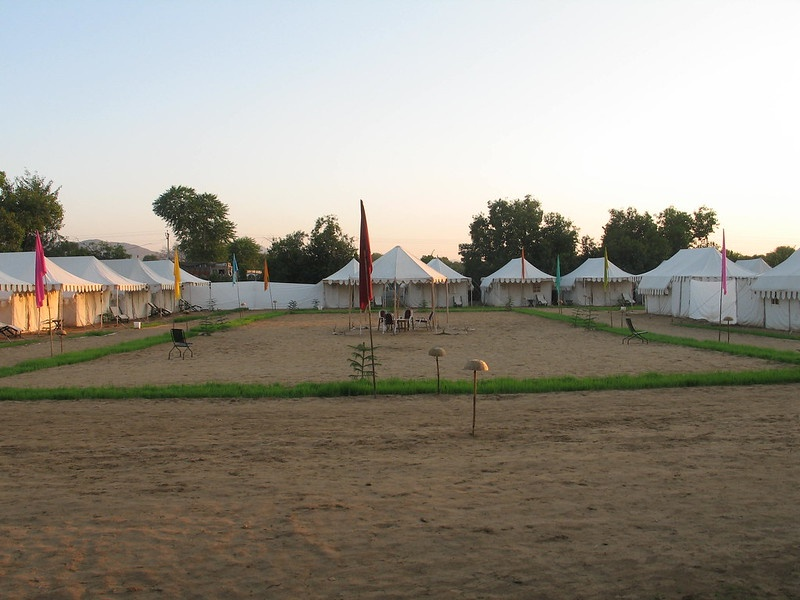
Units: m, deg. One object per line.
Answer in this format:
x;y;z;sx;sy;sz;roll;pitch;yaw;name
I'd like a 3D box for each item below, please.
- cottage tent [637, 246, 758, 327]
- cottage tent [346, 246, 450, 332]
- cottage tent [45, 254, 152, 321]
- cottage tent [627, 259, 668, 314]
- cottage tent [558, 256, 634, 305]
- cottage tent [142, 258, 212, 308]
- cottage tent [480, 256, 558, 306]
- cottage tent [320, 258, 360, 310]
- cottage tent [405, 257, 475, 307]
11.258;-0.822;34.950;2.171;2.309;5.012;13;9;27;cottage tent
0.375;-0.425;30.394;2.586;1.551;2.575;1;5;23;cottage tent
-10.799;-0.551;34.490;2.601;1.399;3.304;1;4;11;cottage tent
9.495;-0.560;37.194;2.193;2.180;2.234;1;3;20;cottage tent
9.824;-0.767;46.813;2.982;2.024;3.388;1;0;12;cottage tent
-10.573;-1.011;43.933;2.856;1.461;2.844;2;5;13;cottage tent
6.084;-0.866;47.391;2.837;1.686;2.771;0;1;-1;cottage tent
-2.653;-0.579;44.629;2.308;2.140;2.911;0;2;-5;cottage tent
1.908;-0.864;47.045;3.304;2.059;3.217;-5;5;-12;cottage tent
